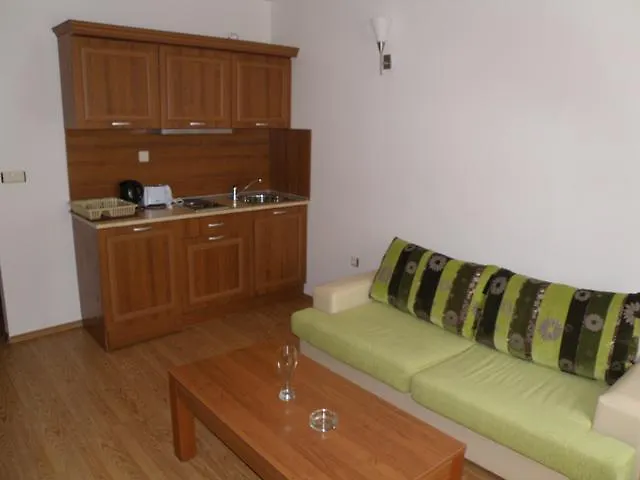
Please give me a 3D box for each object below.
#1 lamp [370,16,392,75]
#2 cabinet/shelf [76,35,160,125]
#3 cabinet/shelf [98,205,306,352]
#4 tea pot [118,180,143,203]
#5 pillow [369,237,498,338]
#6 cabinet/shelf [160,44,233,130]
[{"bbox_3d":[0.516,-1.616,4.047,0.157,0.353,0.140,10,19,34],"label":"lamp"},{"bbox_3d":[-1.656,-1.316,3.913,0.350,0.691,0.626,15,18,43],"label":"cabinet/shelf"},{"bbox_3d":[-1.157,0.220,4.720,2.116,1.030,0.638,-9,17,-41],"label":"cabinet/shelf"},{"bbox_3d":[-1.655,-0.428,4.281,0.223,0.245,0.170,-3,1,4],"label":"tea pot"},{"bbox_3d":[0.793,0.319,3.602,0.806,0.529,0.262,27,0,44],"label":"pillow"},{"bbox_3d":[-1.116,-1.380,4.282,0.642,0.625,0.368,-11,20,-37],"label":"cabinet/shelf"}]
